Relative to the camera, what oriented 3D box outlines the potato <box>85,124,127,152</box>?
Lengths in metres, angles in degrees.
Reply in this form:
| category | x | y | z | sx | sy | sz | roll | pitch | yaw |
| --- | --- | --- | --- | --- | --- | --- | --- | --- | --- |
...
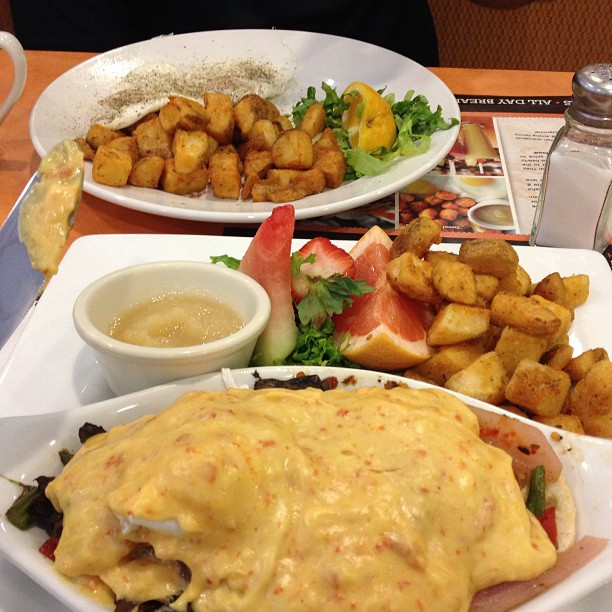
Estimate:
| category | x | y | z | sx | sy | sz | roll | pitch | yaw |
| --- | --- | --- | --- | --- | --- | --- | --- | --- | --- |
| potato | -0.936 | -0.757 | 2.572 | 0.192 | 0.116 | 0.137 | 3 | 11 | -13 |

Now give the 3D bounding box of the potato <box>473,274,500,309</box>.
| category | x | y | z | sx | sy | sz | roll | pitch | yaw |
| --- | --- | --- | --- | --- | --- | --- | --- | --- | --- |
| potato | 0.502 | -0.040 | 1.571 | 0.096 | 0.088 | 0.025 | 27 | -7 | -15 |

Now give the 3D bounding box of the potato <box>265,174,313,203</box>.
| category | x | y | z | sx | sy | sz | roll | pitch | yaw |
| --- | --- | --- | --- | --- | --- | --- | --- | --- | --- |
| potato | -0.066 | -0.476 | 2.313 | 0.158 | 0.040 | 0.151 | -19 | 15 | -4 |

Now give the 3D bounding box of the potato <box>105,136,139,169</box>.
| category | x | y | z | sx | sy | sz | roll | pitch | yaw |
| --- | --- | --- | --- | --- | --- | --- | --- | --- | --- |
| potato | -0.791 | -0.701 | 2.441 | 0.164 | 0.056 | 0.164 | 9 | 59 | -30 |

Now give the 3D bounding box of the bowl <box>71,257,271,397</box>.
| category | x | y | z | sx | sy | sz | roll | pitch | yaw |
| --- | --- | --- | --- | --- | --- | --- | --- | --- | --- |
| bowl | -0.328 | 0.062 | 1.549 | 0.461 | 0.324 | 0.428 | -2 | 50 | 2 |

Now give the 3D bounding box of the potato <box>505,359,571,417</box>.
| category | x | y | z | sx | sy | sz | roll | pitch | yaw |
| --- | --- | --- | --- | --- | --- | --- | --- | --- | --- |
| potato | 0.578 | 0.211 | 1.449 | 0.151 | 0.143 | 0.135 | 27 | 13 | 5 |

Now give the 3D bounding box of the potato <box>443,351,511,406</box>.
| category | x | y | z | sx | sy | sz | roll | pitch | yaw |
| --- | --- | --- | --- | --- | --- | --- | --- | --- | --- |
| potato | 0.462 | 0.191 | 1.513 | 0.191 | 0.123 | 0.140 | -8 | 18 | -25 |

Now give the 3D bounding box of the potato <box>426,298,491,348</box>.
| category | x | y | z | sx | sy | sz | roll | pitch | yaw |
| --- | --- | --- | --- | --- | --- | --- | --- | --- | --- |
| potato | 0.436 | 0.066 | 1.577 | 0.178 | 0.172 | 0.086 | 1 | 51 | 5 |

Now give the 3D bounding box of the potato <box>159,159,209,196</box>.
| category | x | y | z | sx | sy | sz | roll | pitch | yaw |
| --- | --- | --- | --- | --- | --- | --- | --- | --- | --- |
| potato | -0.517 | -0.551 | 2.365 | 0.238 | 0.149 | 0.158 | -5 | 17 | -20 |

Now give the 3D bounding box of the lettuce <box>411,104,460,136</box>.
| category | x | y | z | sx | sy | sz | roll | pitch | yaw |
| --- | --- | --- | --- | --- | --- | --- | --- | --- | --- |
| lettuce | 0.611 | -0.868 | 2.660 | 0.194 | 0.058 | 0.183 | -20 | 32 | -15 |

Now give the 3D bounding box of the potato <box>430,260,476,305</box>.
| category | x | y | z | sx | sy | sz | roll | pitch | yaw |
| --- | --- | --- | --- | --- | --- | --- | --- | --- | --- |
| potato | 0.410 | -0.066 | 1.536 | 0.133 | 0.119 | 0.045 | -1 | -5 | 14 |

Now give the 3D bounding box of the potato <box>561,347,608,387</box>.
| category | x | y | z | sx | sy | sz | roll | pitch | yaw |
| --- | --- | --- | --- | --- | --- | --- | --- | --- | --- |
| potato | 0.758 | 0.156 | 1.514 | 0.110 | 0.031 | 0.108 | -36 | 19 | -11 |

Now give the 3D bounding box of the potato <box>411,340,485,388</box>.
| category | x | y | z | sx | sy | sz | roll | pitch | yaw |
| --- | --- | --- | --- | --- | --- | --- | --- | --- | --- |
| potato | 0.402 | 0.153 | 1.646 | 0.240 | 0.114 | 0.144 | -7 | 12 | -28 |

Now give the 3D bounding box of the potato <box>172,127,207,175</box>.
| category | x | y | z | sx | sy | sz | roll | pitch | yaw |
| --- | --- | --- | --- | --- | --- | --- | --- | --- | --- |
| potato | -0.498 | -0.658 | 2.399 | 0.142 | 0.088 | 0.227 | 3 | 50 | -10 |

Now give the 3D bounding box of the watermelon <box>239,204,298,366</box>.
| category | x | y | z | sx | sy | sz | roll | pitch | yaw |
| --- | --- | --- | --- | --- | --- | --- | --- | --- | --- |
| watermelon | -0.094 | -0.059 | 1.618 | 0.148 | 0.335 | 0.350 | -4 | 50 | 1 |

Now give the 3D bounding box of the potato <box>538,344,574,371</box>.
| category | x | y | z | sx | sy | sz | roll | pitch | yaw |
| --- | --- | --- | --- | --- | --- | --- | --- | --- | --- |
| potato | 0.696 | 0.139 | 1.545 | 0.086 | 0.026 | 0.086 | -43 | 17 | 15 |

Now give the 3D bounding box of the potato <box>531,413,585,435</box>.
| category | x | y | z | sx | sy | sz | roll | pitch | yaw |
| --- | --- | --- | --- | --- | --- | --- | --- | --- | --- |
| potato | 0.623 | 0.285 | 1.362 | 0.081 | 0.025 | 0.079 | 3 | 4 | 40 |

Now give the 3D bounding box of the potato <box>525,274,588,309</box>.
| category | x | y | z | sx | sy | sz | roll | pitch | yaw |
| --- | --- | --- | --- | --- | --- | --- | --- | --- | --- |
| potato | 0.849 | -0.061 | 1.841 | 0.138 | 0.103 | 0.187 | -7 | 20 | -32 |

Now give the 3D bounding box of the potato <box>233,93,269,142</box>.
| category | x | y | z | sx | sy | sz | roll | pitch | yaw |
| --- | --- | --- | --- | --- | --- | --- | --- | --- | --- |
| potato | -0.249 | -0.974 | 2.747 | 0.227 | 0.087 | 0.268 | -3 | 43 | 2 |

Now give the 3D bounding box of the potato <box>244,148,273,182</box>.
| category | x | y | z | sx | sy | sz | roll | pitch | yaw |
| --- | --- | --- | --- | --- | --- | --- | --- | --- | --- |
| potato | -0.218 | -0.658 | 2.523 | 0.136 | 0.096 | 0.238 | -7 | 49 | -2 |

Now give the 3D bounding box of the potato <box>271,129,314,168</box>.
| category | x | y | z | sx | sy | sz | roll | pitch | yaw |
| --- | --- | --- | --- | --- | --- | --- | --- | --- | --- |
| potato | -0.064 | -0.695 | 2.468 | 0.187 | 0.131 | 0.156 | -7 | 50 | -2 |

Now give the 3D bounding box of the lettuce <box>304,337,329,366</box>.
| category | x | y | z | sx | sy | sz | roll | pitch | yaw |
| --- | --- | --- | --- | --- | --- | --- | --- | --- | --- |
| lettuce | 0.029 | 0.139 | 1.658 | 0.069 | 0.027 | 0.100 | -2 | 49 | 2 |

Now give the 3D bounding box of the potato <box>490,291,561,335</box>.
| category | x | y | z | sx | sy | sz | roll | pitch | yaw |
| --- | --- | --- | --- | --- | --- | --- | --- | --- | --- |
| potato | 0.591 | 0.042 | 1.523 | 0.181 | 0.142 | 0.079 | 31 | 60 | 26 |

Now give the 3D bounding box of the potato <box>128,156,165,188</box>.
| category | x | y | z | sx | sy | sz | roll | pitch | yaw |
| --- | --- | --- | --- | --- | --- | --- | --- | --- | --- |
| potato | -0.666 | -0.557 | 2.349 | 0.140 | 0.132 | 0.045 | -32 | 77 | -14 |

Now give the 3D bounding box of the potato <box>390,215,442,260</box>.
| category | x | y | z | sx | sy | sz | roll | pitch | yaw |
| --- | --- | --- | --- | --- | --- | --- | --- | --- | --- |
| potato | 0.337 | -0.205 | 1.736 | 0.125 | 0.130 | 0.138 | -12 | 24 | -32 |

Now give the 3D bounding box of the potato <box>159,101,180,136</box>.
| category | x | y | z | sx | sy | sz | roll | pitch | yaw |
| --- | --- | --- | --- | --- | --- | --- | --- | --- | --- |
| potato | -0.610 | -0.840 | 2.497 | 0.038 | 0.133 | 0.132 | -2 | 57 | -46 |

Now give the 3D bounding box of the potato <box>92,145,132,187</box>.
| category | x | y | z | sx | sy | sz | roll | pitch | yaw |
| --- | --- | --- | --- | --- | --- | --- | --- | --- | --- |
| potato | -0.795 | -0.589 | 2.322 | 0.185 | 0.125 | 0.155 | -16 | 53 | -39 |

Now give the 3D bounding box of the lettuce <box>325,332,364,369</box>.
| category | x | y | z | sx | sy | sz | roll | pitch | yaw |
| --- | --- | --- | --- | --- | --- | --- | --- | --- | --- |
| lettuce | 0.115 | 0.131 | 1.671 | 0.033 | 0.099 | 0.117 | 3 | 3 | -41 |

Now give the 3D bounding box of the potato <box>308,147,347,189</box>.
| category | x | y | z | sx | sy | sz | roll | pitch | yaw |
| --- | --- | --- | --- | --- | --- | --- | --- | --- | --- |
| potato | 0.098 | -0.612 | 2.440 | 0.185 | 0.168 | 0.061 | 6 | -4 | 31 |

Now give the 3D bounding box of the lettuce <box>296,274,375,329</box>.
| category | x | y | z | sx | sy | sz | roll | pitch | yaw |
| --- | --- | --- | --- | --- | --- | --- | --- | --- | --- |
| lettuce | 0.089 | -0.039 | 1.757 | 0.243 | 0.148 | 0.170 | -1 | 22 | -4 |

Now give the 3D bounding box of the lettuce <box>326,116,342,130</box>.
| category | x | y | z | sx | sy | sz | roll | pitch | yaw |
| --- | --- | --- | --- | --- | --- | --- | --- | --- | --- |
| lettuce | 0.148 | -0.980 | 2.959 | 0.081 | 0.027 | 0.076 | 1 | 78 | 23 |

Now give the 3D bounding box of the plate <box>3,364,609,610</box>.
| category | x | y | z | sx | sy | sz | roll | pitch | yaw |
| --- | --- | --- | --- | --- | --- | --- | --- | --- | --- |
| plate | 0.012 | 0.378 | 1.215 | 1.284 | 0.223 | 0.669 | -8 | 49 | -4 |

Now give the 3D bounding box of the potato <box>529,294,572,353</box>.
| category | x | y | z | sx | sy | sz | roll | pitch | yaw |
| --- | --- | --- | --- | --- | --- | --- | --- | --- | --- |
| potato | 0.690 | 0.049 | 1.640 | 0.163 | 0.146 | 0.101 | -1 | 16 | 3 |

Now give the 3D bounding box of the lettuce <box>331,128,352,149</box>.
| category | x | y | z | sx | sy | sz | roll | pitch | yaw |
| --- | --- | --- | --- | --- | --- | --- | --- | --- | --- |
| lettuce | 0.177 | -0.837 | 2.829 | 0.089 | 0.029 | 0.126 | 2 | 47 | -31 |

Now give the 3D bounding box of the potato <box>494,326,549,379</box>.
| category | x | y | z | sx | sy | sz | roll | pitch | yaw |
| --- | --- | --- | --- | --- | --- | --- | --- | --- | --- |
| potato | 0.578 | 0.117 | 1.566 | 0.179 | 0.120 | 0.105 | -7 | 18 | -24 |

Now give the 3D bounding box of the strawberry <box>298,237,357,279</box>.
| category | x | y | z | sx | sy | sz | roll | pitch | yaw |
| --- | --- | --- | --- | --- | --- | --- | --- | --- | --- |
| strawberry | 0.067 | -0.121 | 1.734 | 0.175 | 0.131 | 0.139 | 4 | 51 | 7 |
